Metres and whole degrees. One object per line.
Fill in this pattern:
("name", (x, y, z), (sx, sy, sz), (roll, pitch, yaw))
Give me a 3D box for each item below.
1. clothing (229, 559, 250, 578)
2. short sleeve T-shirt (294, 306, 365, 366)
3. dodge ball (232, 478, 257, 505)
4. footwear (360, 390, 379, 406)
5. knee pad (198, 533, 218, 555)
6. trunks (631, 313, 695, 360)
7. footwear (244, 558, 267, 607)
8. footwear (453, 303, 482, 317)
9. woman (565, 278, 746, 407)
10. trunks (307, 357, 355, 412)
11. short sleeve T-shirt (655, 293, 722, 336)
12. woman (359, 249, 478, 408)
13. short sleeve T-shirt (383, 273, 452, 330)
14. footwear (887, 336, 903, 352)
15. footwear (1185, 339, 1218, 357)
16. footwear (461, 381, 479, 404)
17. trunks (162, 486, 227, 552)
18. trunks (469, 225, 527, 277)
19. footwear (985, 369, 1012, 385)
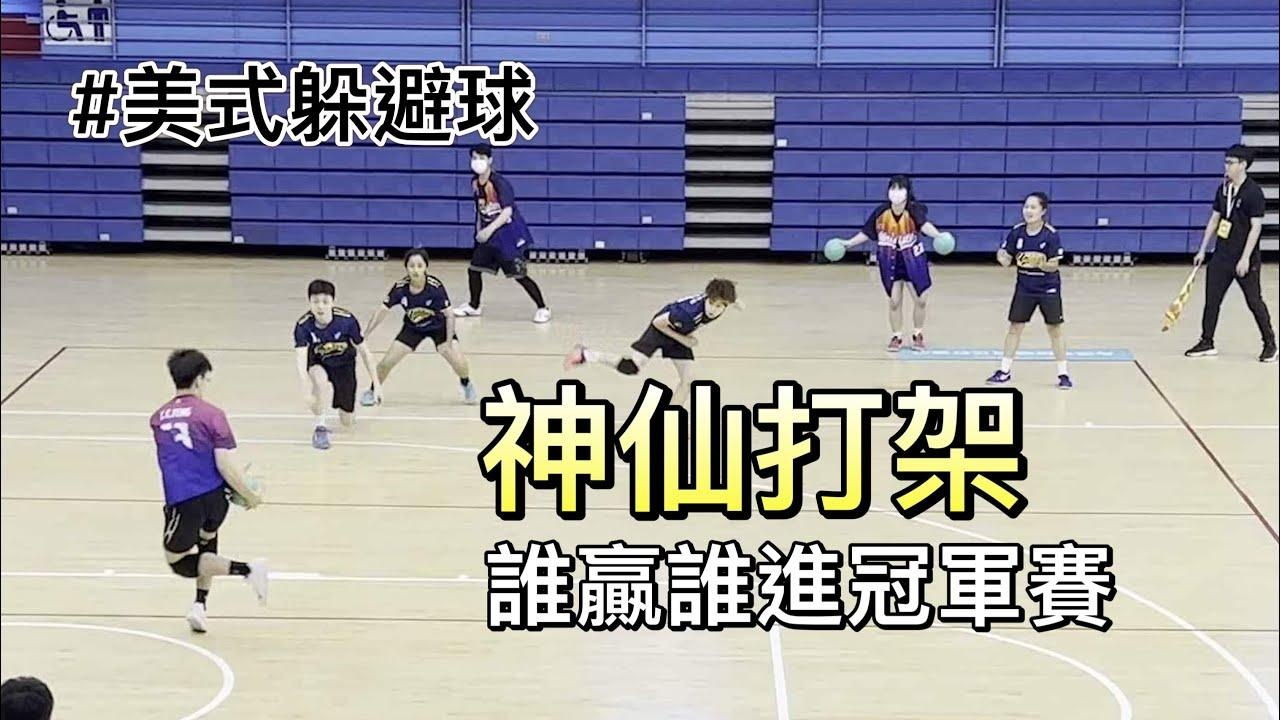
("clothing", (-3.327, 1.751, 12.866), (0.172, 0.082, 0.275), (1, -12, -4))
("short sleeve T-shirt", (-3.054, -0.206, 15.186), (0.704, 0.571, 0.350), (-7, 16, -9))
("dodge ball", (-3.225, 1.116, 12.729), (0.226, 0.169, 0.232), (2, 23, -1))
("footwear", (-2.686, 0.393, 15.495), (0.172, 0.075, 0.226), (4, -5, -16))
("knee pad", (-3.585, 1.553, 12.919), (0.156, 0.155, 0.148), (-10, 2, -12))
("trunks", (0.283, -0.186, 15.795), (0.652, 0.359, 0.574), (8, 20, 10))
("footwear", (-3.169, 1.852, 12.874), (0.191, 0.436, 0.148), (-7, 24, -7))
("footwear", (-2.115, -0.613, 19.098), (0.291, 0.120, 0.154), (3, 3, -13))
("woman", (0.104, -0.177, 15.720), (1.553, 1.712, 0.857), (8, 23, -5))
("trunks", (-3.019, 0.292, 15.408), (0.379, 0.539, 0.282), (-2, 16, -5))
("short sleeve T-shirt", (0.495, -0.441, 15.250), (0.552, 0.443, 0.253), (10, 17, 40))
("woman", (-2.452, -0.288, 17.251), (1.680, 2.030, 1.103), (4, 20, 2))
("short sleeve T-shirt", (-2.244, -0.571, 15.949), (0.728, 0.538, 0.369), (1, 14, 16))
("footwear", (2.975, -0.179, 17.913), (0.192, 0.218, 0.521), (-1, 0, 10))
("footwear", (6.473, -0.125, 17.737), (0.453, 0.274, 0.164), (2, 4, 2))
("footwear", (-1.775, 0.354, 16.229), (0.148, 0.254, 0.101), (-21, 47, -9))
("trunks", (-3.653, 1.301, 12.676), (0.307, 0.445, 0.476), (28, 25, 24))
("trunks", (-1.695, -1.334, 18.850), (0.694, 0.661, 0.401), (3, -8, 7))
("footwear", (3.949, 0.202, 16.910), (0.319, 0.131, 0.125), (3, -3, -43))
